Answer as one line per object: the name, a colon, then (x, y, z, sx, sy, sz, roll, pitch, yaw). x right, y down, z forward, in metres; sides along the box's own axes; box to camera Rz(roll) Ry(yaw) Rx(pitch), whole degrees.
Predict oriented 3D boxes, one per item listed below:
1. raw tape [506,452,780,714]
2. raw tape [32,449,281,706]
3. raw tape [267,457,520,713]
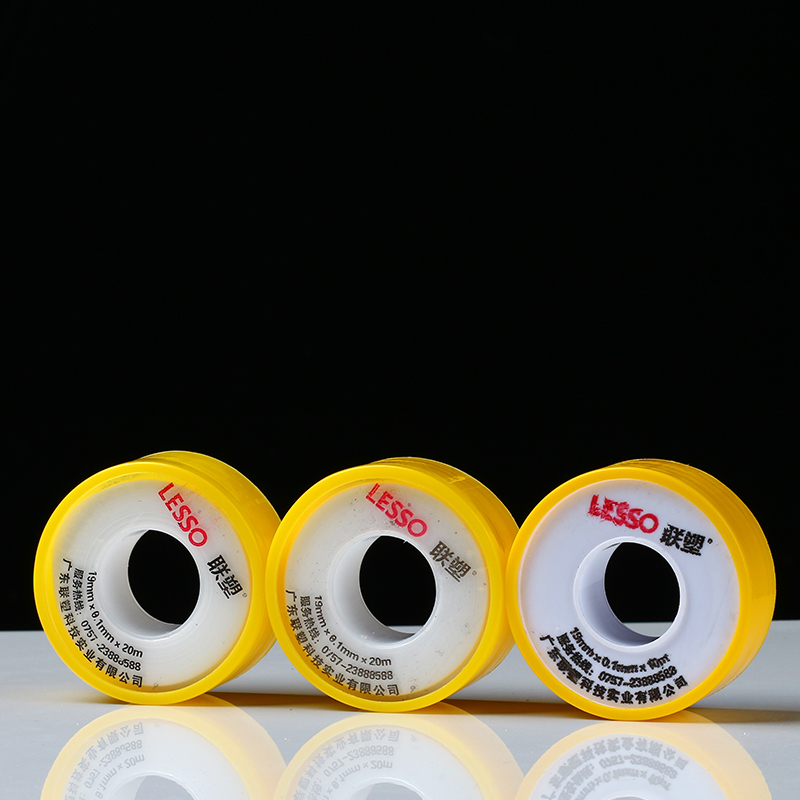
raw tape: (0.456, 0.345, 1.640, 0.363, 0.434, 0.536, -9, -84, 24)
raw tape: (-0.477, 0.394, 1.759, 0.424, 0.495, 0.128, -11, -38, -30)
raw tape: (-0.028, 0.391, 1.702, 0.430, 0.549, 0.145, -5, -47, -16)
